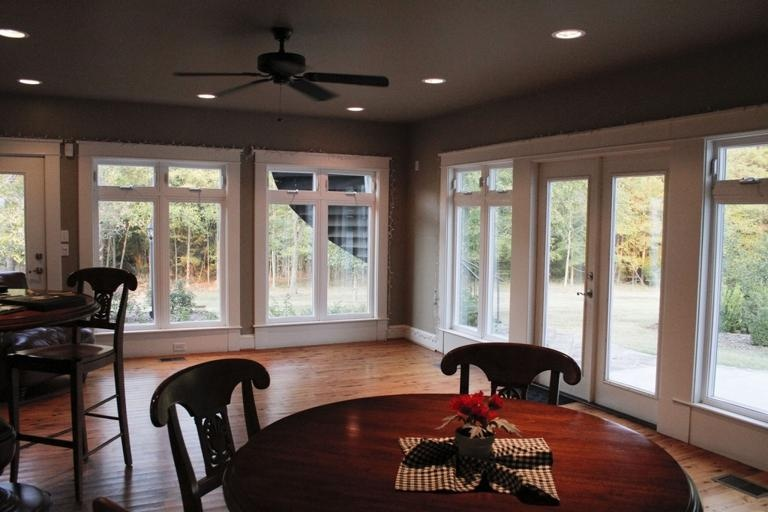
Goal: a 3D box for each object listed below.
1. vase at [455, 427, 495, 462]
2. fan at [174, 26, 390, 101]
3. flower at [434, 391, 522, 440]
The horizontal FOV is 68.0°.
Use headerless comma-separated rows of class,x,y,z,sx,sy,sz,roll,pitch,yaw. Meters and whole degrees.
vase,0.406,0.847,2.595,0.157,0.094,0.156,-1,-3,38
fan,-0.860,-1.576,4.511,1.503,0.322,1.328,-2,19,-16
flower,0.459,0.738,2.653,0.365,0.151,0.349,5,-21,19
